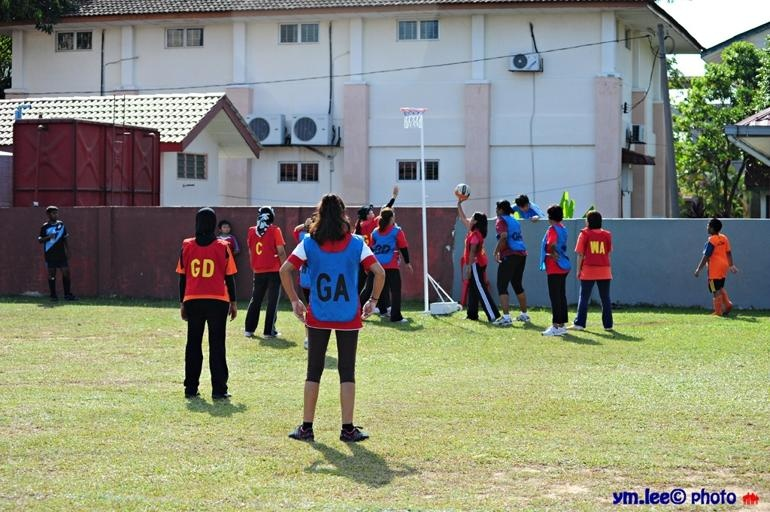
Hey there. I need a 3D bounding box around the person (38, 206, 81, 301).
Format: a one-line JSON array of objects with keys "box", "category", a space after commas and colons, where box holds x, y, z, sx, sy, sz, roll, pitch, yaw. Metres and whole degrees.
[{"box": [-9.014, -0.062, 34.344, 0.806, 2.538, 1.042, 0, 1, 5], "category": "person"}]

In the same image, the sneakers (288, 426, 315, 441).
[{"box": [-1.676, 3.406, 24.088, 0.570, 0.243, 0.208, 3, -1, 16], "category": "sneakers"}]

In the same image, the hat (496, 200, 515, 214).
[{"box": [2.942, -1.173, 30.562, 0.315, 0.389, 0.375, 3, -7, -23], "category": "hat"}]

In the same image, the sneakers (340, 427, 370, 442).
[{"box": [-0.585, 3.424, 24.061, 0.554, 0.264, 0.248, 0, -2, -7], "category": "sneakers"}]

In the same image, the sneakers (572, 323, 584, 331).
[{"box": [4.683, 1.717, 30.265, 0.235, 0.160, 0.143, -1, 5, 9], "category": "sneakers"}]

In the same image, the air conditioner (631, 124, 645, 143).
[{"box": [9.926, -4.761, 48.967, 0.553, 0.919, 1.000, 0, 1, 10], "category": "air conditioner"}]

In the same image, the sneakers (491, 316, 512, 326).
[{"box": [2.886, 1.603, 30.781, 0.510, 0.235, 0.186, 0, -1, -3], "category": "sneakers"}]

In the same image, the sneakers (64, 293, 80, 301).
[{"box": [-8.660, 1.126, 34.529, 0.405, 0.184, 0.161, 0, 4, -2], "category": "sneakers"}]

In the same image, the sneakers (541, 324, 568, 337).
[{"box": [4.108, 1.794, 29.881, 0.698, 0.293, 0.233, 2, -3, -12], "category": "sneakers"}]
